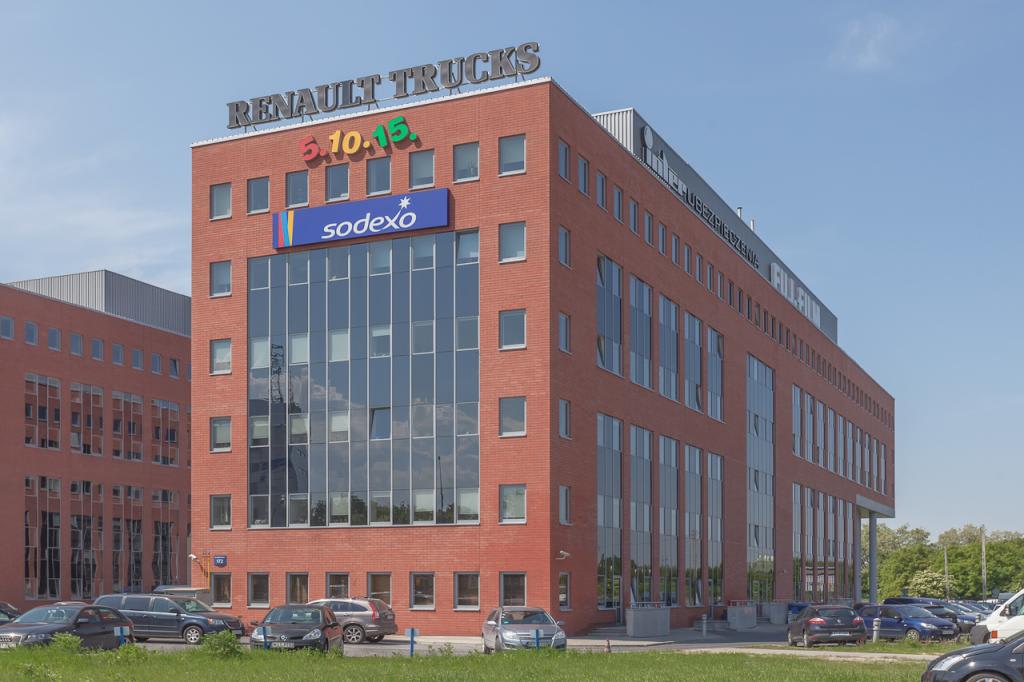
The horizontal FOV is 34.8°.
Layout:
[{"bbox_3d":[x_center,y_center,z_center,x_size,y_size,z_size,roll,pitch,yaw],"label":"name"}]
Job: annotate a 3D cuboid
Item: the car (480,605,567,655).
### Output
[{"bbox_3d":[0.795,15.097,84.606,4.335,2.052,2.948,-2,3,11],"label":"car"}]
